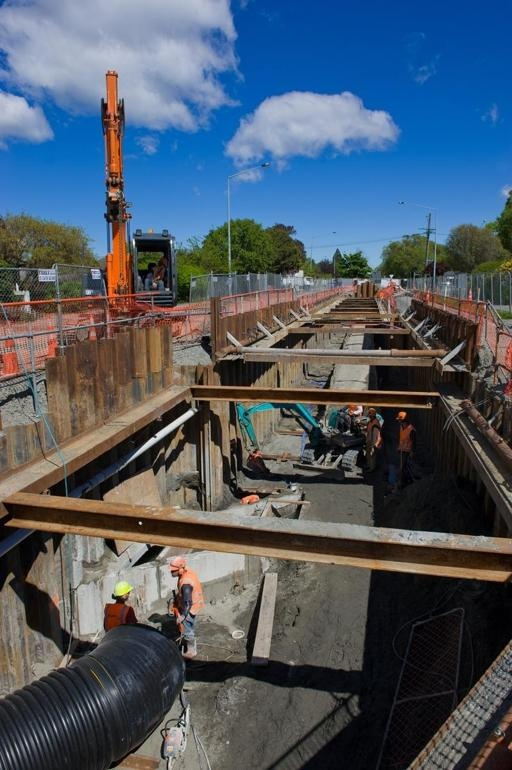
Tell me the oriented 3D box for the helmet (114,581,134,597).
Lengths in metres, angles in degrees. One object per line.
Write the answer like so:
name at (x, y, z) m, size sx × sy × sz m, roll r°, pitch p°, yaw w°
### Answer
helmet at (-1.481, 2.229, 5.557) m, size 0.218 × 0.156 × 0.283 m, roll -2°, pitch -5°, yaw -6°

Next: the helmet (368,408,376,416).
helmet at (3.359, 0.826, 14.645) m, size 0.175 × 0.222 × 0.255 m, roll 3°, pitch 23°, yaw 13°

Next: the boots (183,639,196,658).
boots at (-0.829, 3.277, 6.253) m, size 0.103 × 0.245 × 0.325 m, roll 4°, pitch -8°, yaw -7°

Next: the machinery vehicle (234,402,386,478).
machinery vehicle at (1.675, 1.632, 14.898) m, size 3.791 × 1.934 × 2.096 m, roll 0°, pitch 6°, yaw 3°

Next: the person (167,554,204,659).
person at (-0.867, 2.799, 6.243) m, size 0.375 × 1.464 × 0.675 m, roll -6°, pitch 6°, yaw -18°

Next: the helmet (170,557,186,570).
helmet at (-0.955, 2.170, 6.087) m, size 0.200 × 0.172 × 0.133 m, roll -7°, pitch 6°, yaw -28°
